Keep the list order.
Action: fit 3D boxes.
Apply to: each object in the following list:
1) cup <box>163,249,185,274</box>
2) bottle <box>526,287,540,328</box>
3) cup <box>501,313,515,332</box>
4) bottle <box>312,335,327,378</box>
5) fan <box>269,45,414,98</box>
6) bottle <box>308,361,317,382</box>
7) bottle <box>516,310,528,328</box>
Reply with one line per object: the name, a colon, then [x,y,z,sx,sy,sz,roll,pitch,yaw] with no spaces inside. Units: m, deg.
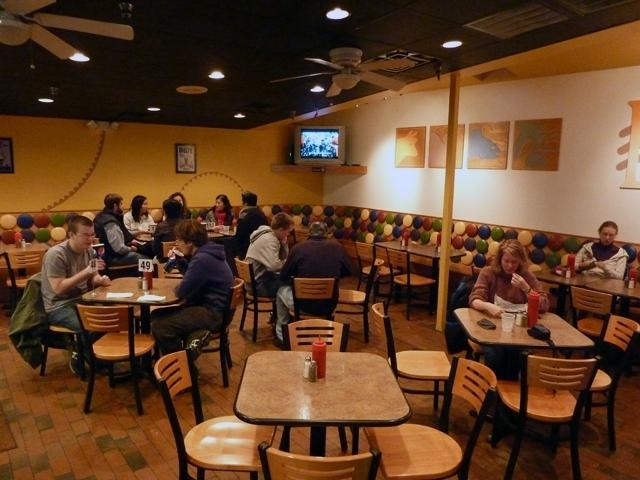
cup: [-1.596,0.238,5.428,0.187,0.282,0.164,29,10,16]
bottle: [1.761,0.581,4.103,0.089,0.277,0.133,6,10,22]
cup: [1.534,0.664,4.050,0.141,0.141,0.142,1,3,0]
bottle: [-0.001,0.801,3.425,0.103,0.246,0.203,2,9,0]
fan: [0.344,-1.739,5.191,1.081,0.358,1.209,1,9,-9]
bottle: [-0.049,0.878,3.330,0.058,0.134,0.055,2,9,0]
bottle: [1.700,0.668,4.187,0.096,0.093,0.097,-1,0,17]
